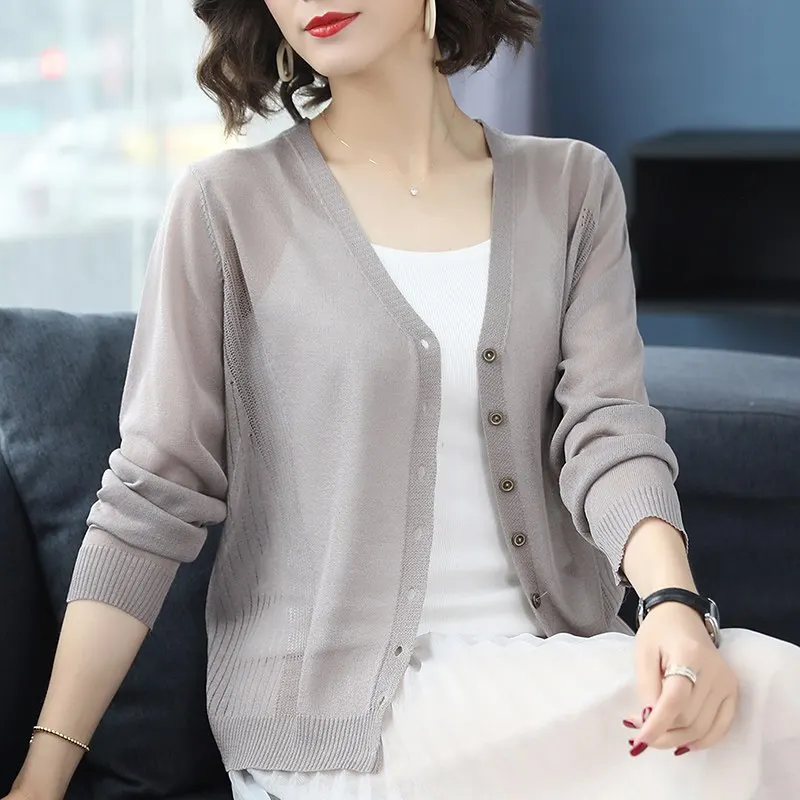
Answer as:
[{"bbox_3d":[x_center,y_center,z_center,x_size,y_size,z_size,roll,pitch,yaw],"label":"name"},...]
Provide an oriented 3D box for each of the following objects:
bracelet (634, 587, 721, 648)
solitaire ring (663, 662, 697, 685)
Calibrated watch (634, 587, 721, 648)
[{"bbox_3d":[0.262,0.194,0.803,0.074,0.068,0.044,3,19,13],"label":"bracelet"},{"bbox_3d":[0.233,0.222,0.700,0.019,0.007,0.017,4,-4,37],"label":"solitaire ring"},{"bbox_3d":[0.273,0.201,0.839,0.074,0.068,0.044,3,19,13],"label":"Calibrated watch"}]
